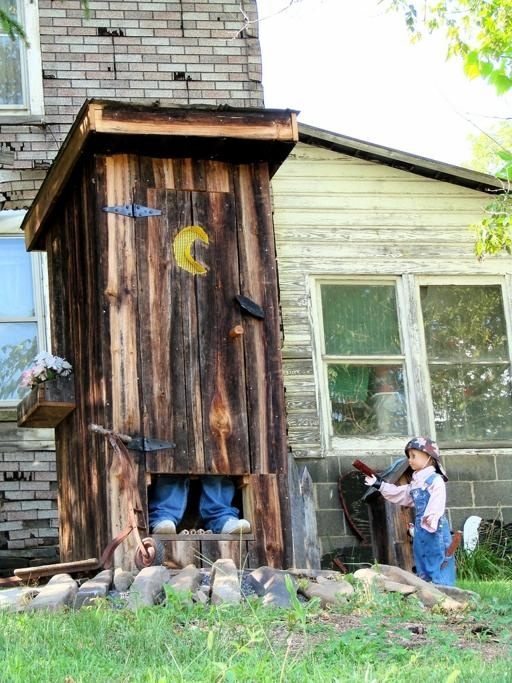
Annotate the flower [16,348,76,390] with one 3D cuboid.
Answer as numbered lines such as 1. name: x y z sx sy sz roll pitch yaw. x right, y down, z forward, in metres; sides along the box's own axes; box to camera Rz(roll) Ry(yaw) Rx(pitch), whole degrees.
1. flower: -1.455 0.175 5.197 0.302 0.135 0.309 -17 7 -7

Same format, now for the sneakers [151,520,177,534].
1. sneakers: -0.558 1.140 4.519 0.142 0.088 0.188 4 -9 -8

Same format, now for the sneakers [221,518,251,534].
1. sneakers: -0.118 1.143 4.582 0.081 0.081 0.205 5 -18 -22
